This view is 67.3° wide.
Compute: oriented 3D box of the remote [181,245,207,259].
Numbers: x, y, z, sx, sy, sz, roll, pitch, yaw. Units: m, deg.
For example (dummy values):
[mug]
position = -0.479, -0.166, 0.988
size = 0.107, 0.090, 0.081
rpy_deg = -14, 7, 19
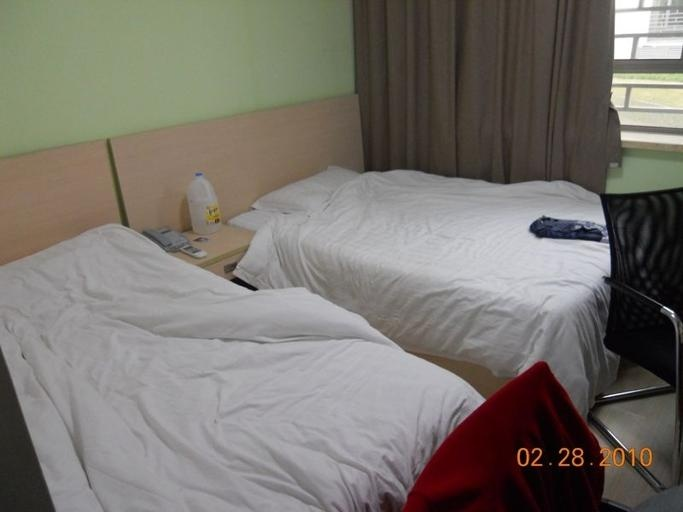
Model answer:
[remote]
position = -0.872, -0.027, 3.056
size = 0.139, 0.035, 0.077
rpy_deg = 23, 35, 33

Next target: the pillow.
[pillow]
position = -0.199, -0.498, 3.782
size = 0.361, 0.136, 0.598
rpy_deg = 23, 38, 39
